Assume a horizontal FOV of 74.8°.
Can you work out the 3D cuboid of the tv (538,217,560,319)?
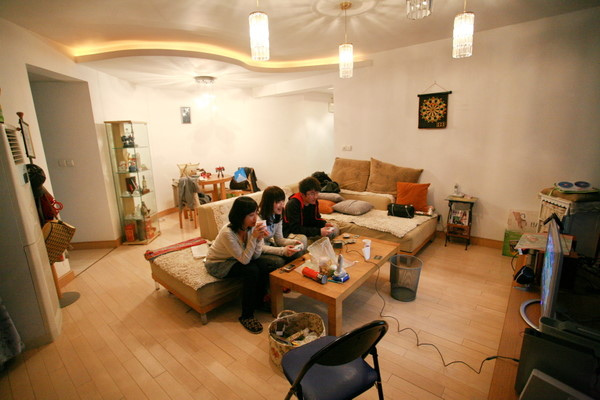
[{"bbox_3d":[2.490,0.718,3.912,0.041,0.576,0.930,-1,21,26],"label":"tv"}]

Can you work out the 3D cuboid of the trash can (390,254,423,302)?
[{"bbox_3d":[1.344,1.010,5.158,0.478,0.569,0.503,-1,12,5],"label":"trash can"}]

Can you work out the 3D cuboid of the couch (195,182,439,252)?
[{"bbox_3d":[1.078,0.217,6.171,1.661,0.572,1.859,10,21,32],"label":"couch"}]

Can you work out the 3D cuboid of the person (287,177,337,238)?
[{"bbox_3d":[0.102,0.046,5.563,0.848,0.903,0.603,9,20,36],"label":"person"}]

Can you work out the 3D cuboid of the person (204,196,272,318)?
[{"bbox_3d":[-0.739,0.685,4.696,0.719,1.427,0.442,-6,11,-14],"label":"person"}]

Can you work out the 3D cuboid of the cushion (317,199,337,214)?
[{"bbox_3d":[0.452,0.115,6.440,0.227,0.099,0.218,1,28,-13],"label":"cushion"}]

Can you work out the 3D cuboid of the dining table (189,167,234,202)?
[{"bbox_3d":[-1.849,-0.212,8.001,0.574,0.442,0.576,7,12,38],"label":"dining table"}]

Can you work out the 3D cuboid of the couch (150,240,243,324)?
[{"bbox_3d":[-1.299,0.959,5.234,1.296,0.563,1.043,14,24,35],"label":"couch"}]

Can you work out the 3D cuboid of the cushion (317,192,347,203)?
[{"bbox_3d":[0.516,-0.060,6.668,0.302,0.084,0.239,5,10,30],"label":"cushion"}]

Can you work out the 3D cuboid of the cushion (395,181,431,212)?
[{"bbox_3d":[1.821,-0.053,6.330,0.437,0.429,0.160,4,-14,26],"label":"cushion"}]

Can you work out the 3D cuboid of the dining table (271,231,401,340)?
[{"bbox_3d":[0.552,1.017,5.027,0.961,0.630,1.783,11,21,37],"label":"dining table"}]
